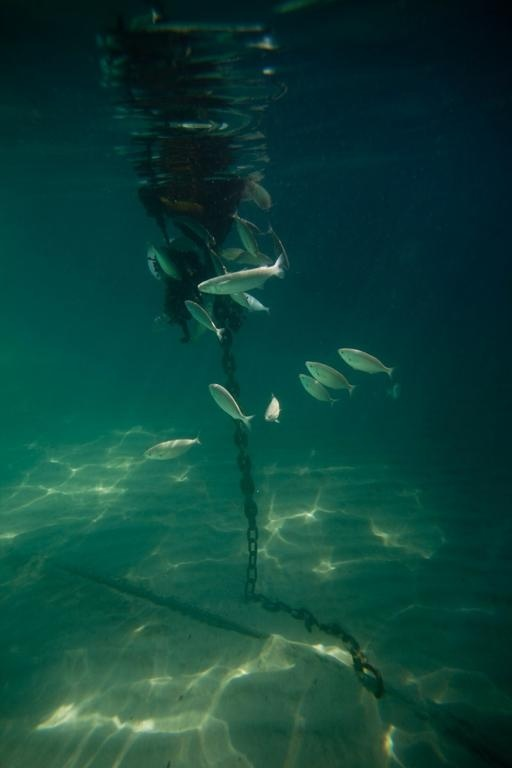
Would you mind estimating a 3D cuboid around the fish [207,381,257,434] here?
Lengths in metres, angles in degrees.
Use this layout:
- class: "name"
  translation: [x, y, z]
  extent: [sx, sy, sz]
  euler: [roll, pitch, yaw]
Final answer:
- class: "fish"
  translation: [-0.353, 0.296, 9.008]
  extent: [0.446, 0.603, 0.796]
  euler: [-4, 10, -5]
